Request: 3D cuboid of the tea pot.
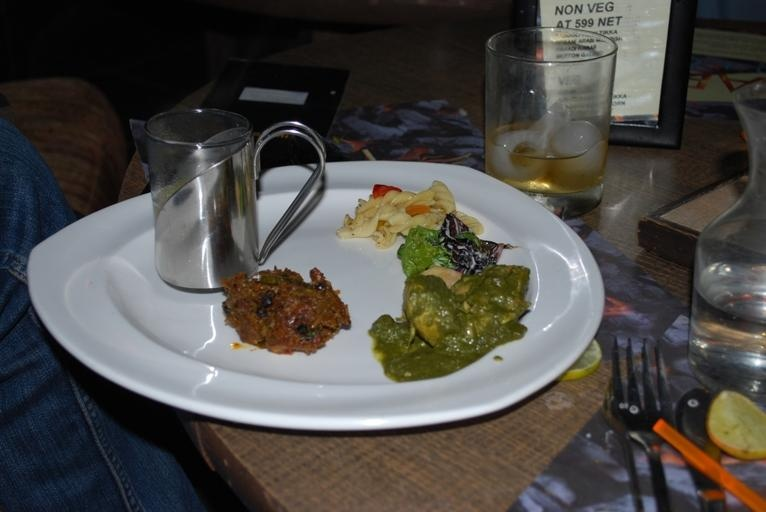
[{"bbox_3d":[-0.304,-0.159,1.207,0.461,0.395,0.244,2,38,-10],"label":"tea pot"}]
